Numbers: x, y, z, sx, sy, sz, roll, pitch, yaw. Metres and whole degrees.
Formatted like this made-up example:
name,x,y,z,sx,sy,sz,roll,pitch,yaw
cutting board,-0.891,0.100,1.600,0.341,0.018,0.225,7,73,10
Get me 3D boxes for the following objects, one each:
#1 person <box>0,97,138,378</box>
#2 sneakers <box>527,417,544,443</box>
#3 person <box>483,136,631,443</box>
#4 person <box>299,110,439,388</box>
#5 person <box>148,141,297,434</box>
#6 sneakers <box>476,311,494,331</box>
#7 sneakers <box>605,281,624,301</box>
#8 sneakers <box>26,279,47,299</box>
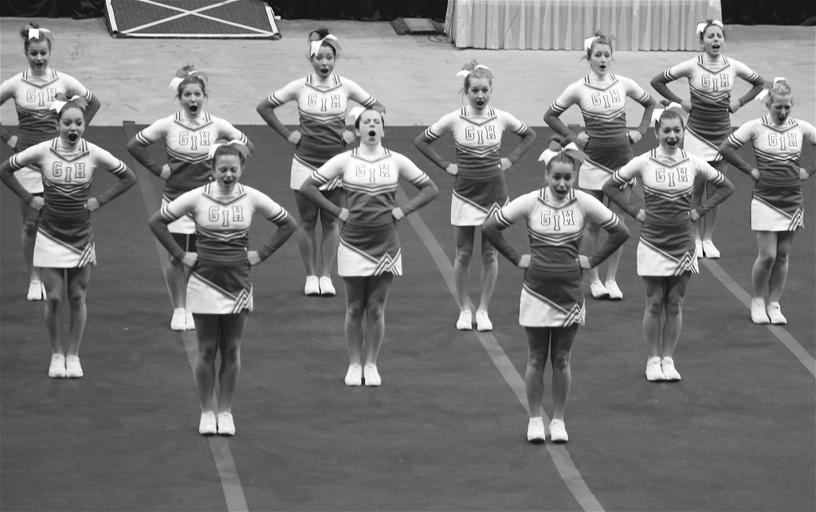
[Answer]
name,x,y,z,sx,sy,sz,roll,pitch,yaw
person,-4.530,-0.197,28.148,1.265,3.669,1.082,-5,17,-14
sneakers,1.701,2.331,27.308,0.167,0.146,0.400,-1,14,3
person,1.877,0.590,27.205,1.697,3.742,0.950,-3,17,-7
person,-0.516,-0.070,28.163,1.332,3.650,0.984,-12,20,-32
person,-2.401,0.501,27.113,1.550,3.762,0.777,-3,17,-7
sneakers,1.075,0.967,29.283,0.171,0.132,0.343,-7,34,0
sneakers,2.986,0.562,30.084,0.190,0.131,0.332,-22,50,-7
sneakers,-5.277,0.535,29.646,0.224,0.223,0.558,-3,13,-17
